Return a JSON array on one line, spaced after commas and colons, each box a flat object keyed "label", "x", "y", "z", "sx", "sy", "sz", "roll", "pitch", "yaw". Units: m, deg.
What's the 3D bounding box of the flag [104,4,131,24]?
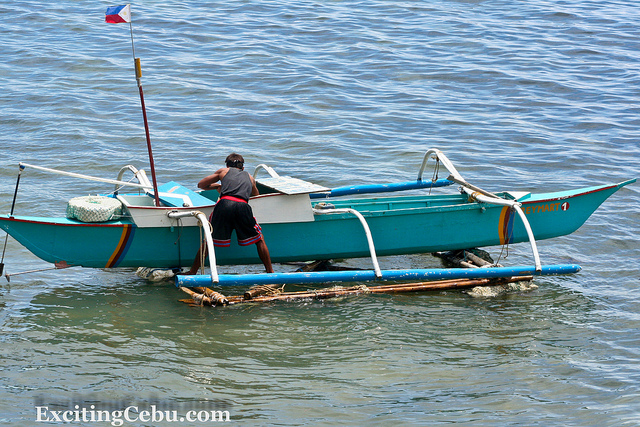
[{"label": "flag", "x": -4.094, "y": -4.053, "z": 23.123, "sx": 0.461, "sy": 0.443, "sz": 0.444, "roll": 1, "pitch": 30, "yaw": -6}]
